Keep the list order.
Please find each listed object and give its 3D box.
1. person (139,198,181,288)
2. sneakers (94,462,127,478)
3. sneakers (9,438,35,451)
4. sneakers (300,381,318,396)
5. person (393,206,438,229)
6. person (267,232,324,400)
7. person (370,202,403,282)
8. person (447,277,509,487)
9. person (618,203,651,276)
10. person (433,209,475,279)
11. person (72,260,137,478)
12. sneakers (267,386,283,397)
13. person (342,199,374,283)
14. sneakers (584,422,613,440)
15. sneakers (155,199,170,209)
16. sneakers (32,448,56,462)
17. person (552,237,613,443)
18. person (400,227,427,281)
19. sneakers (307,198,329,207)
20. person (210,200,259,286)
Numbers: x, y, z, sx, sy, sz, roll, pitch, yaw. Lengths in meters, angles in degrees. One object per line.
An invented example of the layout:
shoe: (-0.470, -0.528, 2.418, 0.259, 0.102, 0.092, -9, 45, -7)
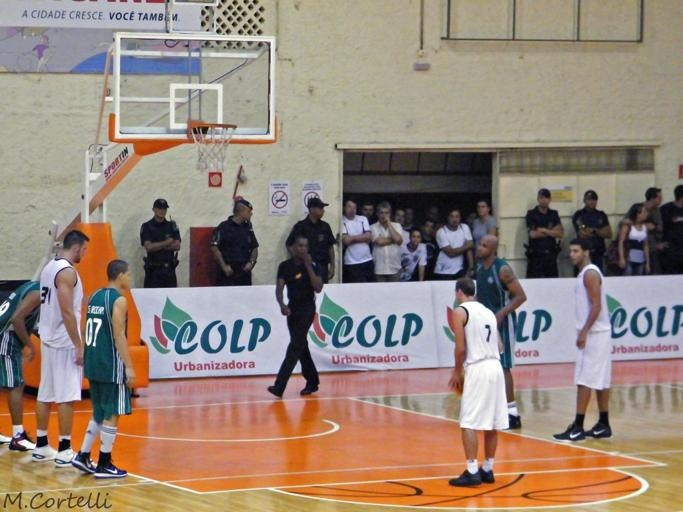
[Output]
person: (-3.394, -0.169, 22.110, 0.703, 1.564, 0.358, -1, 9, -11)
sneakers: (-2.988, 2.789, 15.301, 0.426, 0.205, 0.162, 1, 1, -10)
sneakers: (-4.421, 2.607, 16.294, 0.399, 0.198, 0.157, 2, 0, 0)
sneakers: (-0.524, 2.217, 19.481, 0.132, 0.165, 0.367, 0, -1, 43)
person: (1.321, -0.772, 24.299, 0.753, 0.324, 0.579, 1, 0, 37)
person: (-0.728, 1.007, 19.139, 0.766, 2.628, 0.659, 0, 9, -6)
person: (0.879, 0.052, 23.139, 0.563, 2.088, 0.559, -9, 22, -17)
person: (1.772, 1.627, 15.302, 0.740, 2.539, 0.866, -1, 9, -7)
person: (5.837, -0.293, 23.612, 0.609, 1.395, 0.344, 2, 9, 7)
person: (2.217, -0.181, 23.377, 0.726, 1.358, 0.434, 1, 9, 4)
person: (-3.104, 1.485, 15.345, 0.761, 2.717, 0.783, -2, 9, -14)
sneakers: (-1.080, 2.200, 19.149, 0.251, 0.255, 0.389, 0, 10, -4)
person: (0.327, -0.234, 23.096, 0.664, 1.661, 0.624, 1, 9, 2)
sneakers: (3.703, 2.531, 17.074, 0.426, 0.213, 0.165, 0, -1, 1)
sneakers: (-3.372, -0.931, 21.864, 0.158, 0.130, 0.213, -4, 1, -34)
sneakers: (-4.017, 2.672, 15.901, 0.322, 0.160, 0.148, -1, 4, -27)
person: (3.576, 1.239, 17.021, 0.739, 2.756, 0.928, 2, 9, 7)
person: (1.450, 0.028, 23.564, 0.492, 1.104, 0.651, 2, 9, 10)
sneakers: (-0.446, -0.931, 21.544, 0.296, 0.128, 0.199, 3, 6, -2)
person: (-2.024, -0.213, 22.132, 0.810, 1.622, 0.588, 1, 9, 2)
